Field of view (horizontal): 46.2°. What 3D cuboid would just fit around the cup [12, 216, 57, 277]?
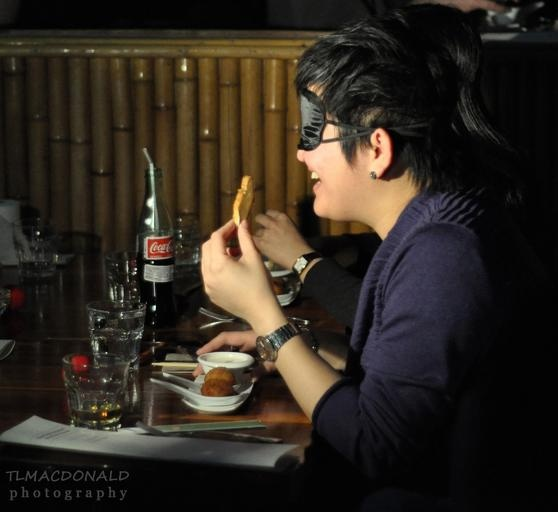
[{"bbox_3d":[-0.695,-0.018,1.828,0.121,0.165,0.119,-11,-16,-3],"label":"cup"}]

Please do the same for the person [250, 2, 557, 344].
[{"bbox_3d":[0.226,-0.266,1.408,0.532,0.593,0.713,-24,34,-38],"label":"person"}]

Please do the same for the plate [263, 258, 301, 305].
[{"bbox_3d":[0.002,0.059,1.628,0.101,0.027,0.108,-32,-9,14],"label":"plate"}]

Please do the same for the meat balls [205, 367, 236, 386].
[{"bbox_3d":[-0.092,0.191,1.038,0.031,0.016,0.033,6,11,-1],"label":"meat balls"}]

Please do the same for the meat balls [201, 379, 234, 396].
[{"bbox_3d":[-0.095,0.206,1.005,0.031,0.010,0.031,3,2,0],"label":"meat balls"}]

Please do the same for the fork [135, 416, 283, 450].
[{"bbox_3d":[-0.100,0.246,0.923,0.212,0.024,0.070,1,14,3],"label":"fork"}]

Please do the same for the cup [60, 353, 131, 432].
[{"bbox_3d":[-0.259,0.209,0.988,0.119,0.093,0.100,11,-23,-22],"label":"cup"}]

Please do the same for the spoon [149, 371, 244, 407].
[{"bbox_3d":[-0.129,0.216,1.033,0.094,0.015,0.061,7,7,23],"label":"spoon"}]
